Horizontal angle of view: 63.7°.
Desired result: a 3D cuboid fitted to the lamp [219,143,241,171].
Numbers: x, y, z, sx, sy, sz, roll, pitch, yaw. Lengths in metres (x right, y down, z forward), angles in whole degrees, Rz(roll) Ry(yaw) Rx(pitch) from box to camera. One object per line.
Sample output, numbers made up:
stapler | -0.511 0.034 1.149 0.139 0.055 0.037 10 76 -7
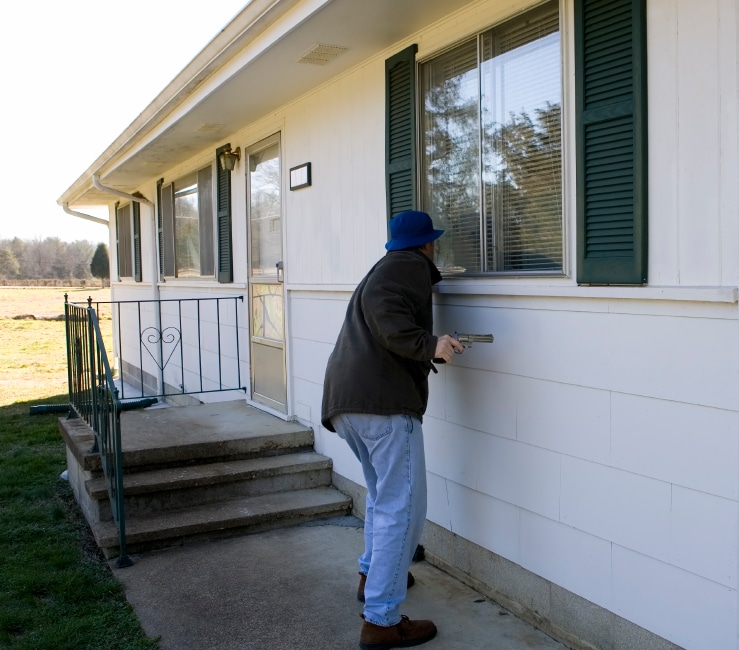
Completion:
lamp | -1.383 -1.665 5.852 0.164 0.274 0.345 -3 4 -23

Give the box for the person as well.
person | 0.093 0.431 2.792 0.603 1.946 0.572 -3 4 -20

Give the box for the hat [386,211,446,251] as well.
hat | 0.195 -0.428 2.963 0.231 0.108 0.224 -21 23 -15
